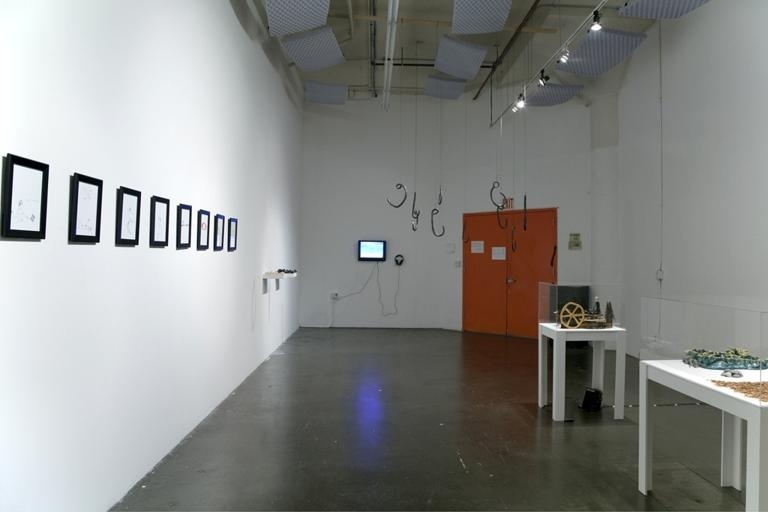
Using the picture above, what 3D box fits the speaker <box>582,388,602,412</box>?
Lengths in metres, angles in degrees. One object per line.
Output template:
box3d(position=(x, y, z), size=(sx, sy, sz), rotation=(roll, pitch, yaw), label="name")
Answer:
box3d(position=(2.215, 1.535, 5.782), size=(0.217, 0.250, 0.176), rotation=(1, 2, 7), label="speaker")

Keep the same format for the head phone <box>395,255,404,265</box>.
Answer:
box3d(position=(0.290, 0.073, 10.160), size=(0.138, 0.190, 0.053), rotation=(-2, 2, -1), label="head phone")

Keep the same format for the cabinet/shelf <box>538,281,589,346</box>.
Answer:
box3d(position=(1.911, 0.612, 5.989), size=(0.536, 0.629, 0.570), rotation=(1, 3, 2), label="cabinet/shelf")

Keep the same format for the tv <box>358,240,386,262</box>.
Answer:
box3d(position=(-0.222, 0.025, 10.113), size=(0.591, 0.490, 0.323), rotation=(1, -2, -3), label="tv")

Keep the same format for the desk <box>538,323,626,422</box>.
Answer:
box3d(position=(2.136, 1.291, 6.088), size=(0.860, 1.296, 0.936), rotation=(1, -3, 2), label="desk")
